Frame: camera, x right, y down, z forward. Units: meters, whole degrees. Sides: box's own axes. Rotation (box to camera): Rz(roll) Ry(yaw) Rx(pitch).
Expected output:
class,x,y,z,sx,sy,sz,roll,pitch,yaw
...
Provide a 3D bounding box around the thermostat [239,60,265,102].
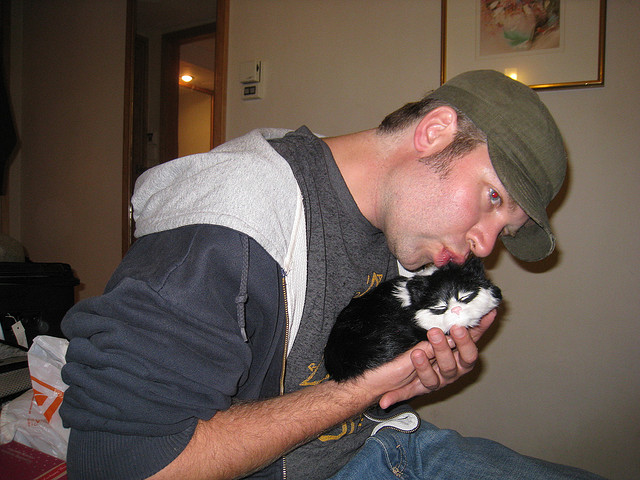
class,x,y,z,sx,sy,sz,roll,pitch,yaw
thermostat,-0.321,-0.758,2.482,0.126,0.159,0.036,-2,1,24

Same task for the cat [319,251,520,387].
class,x,y,z,sx,sy,sz,roll,pitch,yaw
cat,0.276,0.265,1.542,0.502,0.247,0.314,-25,28,-2
